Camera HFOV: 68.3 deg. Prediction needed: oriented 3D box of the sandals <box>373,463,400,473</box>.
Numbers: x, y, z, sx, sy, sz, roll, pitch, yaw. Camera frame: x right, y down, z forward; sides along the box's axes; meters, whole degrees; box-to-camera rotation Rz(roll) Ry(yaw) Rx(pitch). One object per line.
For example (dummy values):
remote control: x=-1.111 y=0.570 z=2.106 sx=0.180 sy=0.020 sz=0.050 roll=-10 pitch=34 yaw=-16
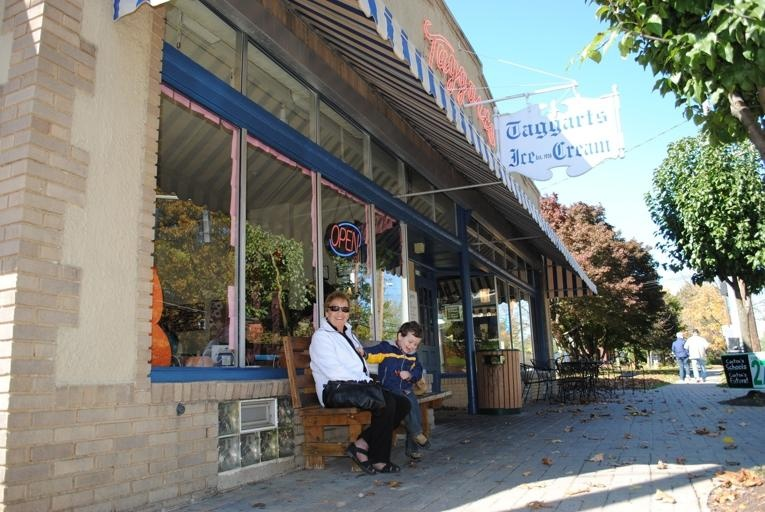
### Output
sandals: x=0.044 y=2.290 z=6.117 sx=0.243 sy=0.077 sz=0.122 roll=-2 pitch=-7 yaw=9

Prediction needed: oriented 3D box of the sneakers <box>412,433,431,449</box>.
sneakers: x=0.516 y=2.368 z=7.261 sx=0.135 sy=0.178 sz=0.408 roll=11 pitch=-25 yaw=-28

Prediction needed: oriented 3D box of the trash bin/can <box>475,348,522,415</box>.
trash bin/can: x=2.333 y=2.504 z=11.387 sx=0.928 sy=1.279 sz=0.488 roll=-7 pitch=-13 yaw=9

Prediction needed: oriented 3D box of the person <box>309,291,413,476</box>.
person: x=-0.245 y=1.384 z=6.445 sx=1.008 sy=2.043 sz=0.787 roll=-16 pitch=-22 yaw=29
